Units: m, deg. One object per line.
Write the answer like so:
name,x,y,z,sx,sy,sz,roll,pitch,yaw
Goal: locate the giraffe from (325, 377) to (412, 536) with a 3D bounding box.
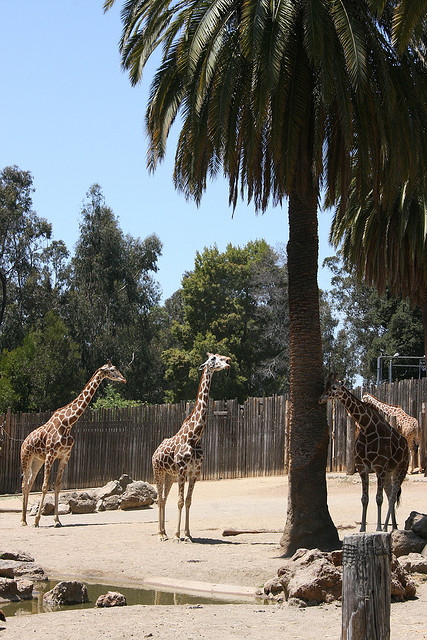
giraffe,2.552,2.016,14.302,1.002,2.464,7.105,-1,-11,12
